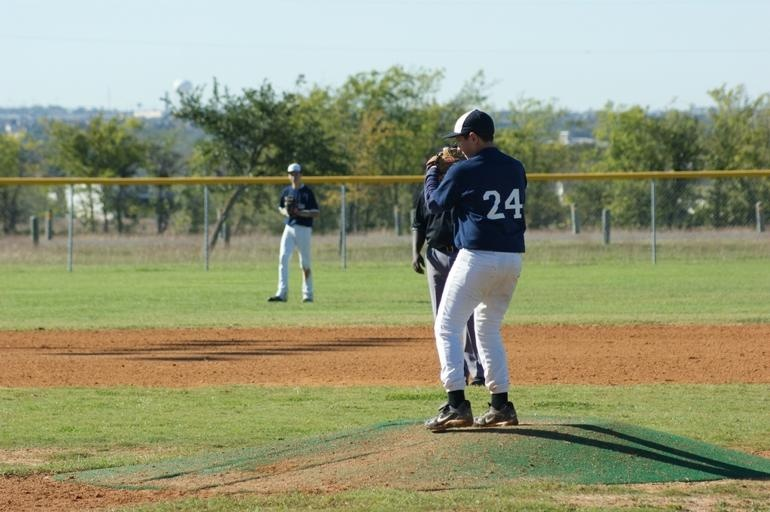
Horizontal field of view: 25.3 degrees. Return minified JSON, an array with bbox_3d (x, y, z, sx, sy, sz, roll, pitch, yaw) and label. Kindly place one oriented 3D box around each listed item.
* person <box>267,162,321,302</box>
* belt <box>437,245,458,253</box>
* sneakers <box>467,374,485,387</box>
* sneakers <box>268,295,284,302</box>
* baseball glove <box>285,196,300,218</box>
[{"bbox_3d":[-2.432,-0.567,44.477,1.248,3.508,0.954,0,1,-3],"label":"person"},{"bbox_3d":[1.342,-0.153,39.195,0.301,0.120,0.227,-1,-2,15],"label":"belt"},{"bbox_3d":[2.040,2.841,39.605,0.198,0.231,0.336,0,5,-28],"label":"sneakers"},{"bbox_3d":[-2.842,1.114,44.293,0.428,0.185,0.156,5,5,-1],"label":"sneakers"},{"bbox_3d":[-2.412,-1.243,44.059,0.327,0.495,0.140,0,1,-5],"label":"baseball glove"}]
